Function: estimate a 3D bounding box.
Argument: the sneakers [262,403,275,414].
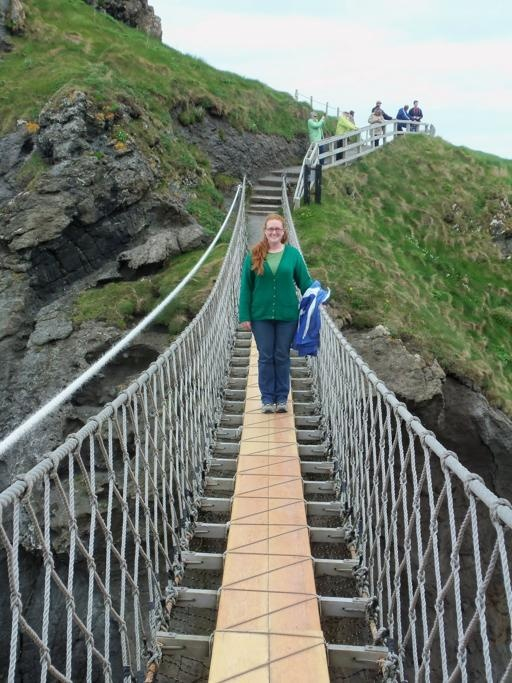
[{"bbox_3d":[0.095,0.504,4.347,0.055,0.062,0.135,0,-11,2],"label":"sneakers"}]

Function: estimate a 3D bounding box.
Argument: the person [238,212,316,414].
[{"bbox_3d":[0.123,-0.164,4.191,0.506,1.450,0.322,7,23,4],"label":"person"}]

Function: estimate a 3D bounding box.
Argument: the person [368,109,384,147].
[{"bbox_3d":[4.072,-7.317,19.325,0.527,1.177,2.808,9,23,9],"label":"person"}]

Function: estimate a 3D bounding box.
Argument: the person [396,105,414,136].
[{"bbox_3d":[5.212,-7.898,20.251,0.493,0.949,1.876,10,24,11],"label":"person"}]
